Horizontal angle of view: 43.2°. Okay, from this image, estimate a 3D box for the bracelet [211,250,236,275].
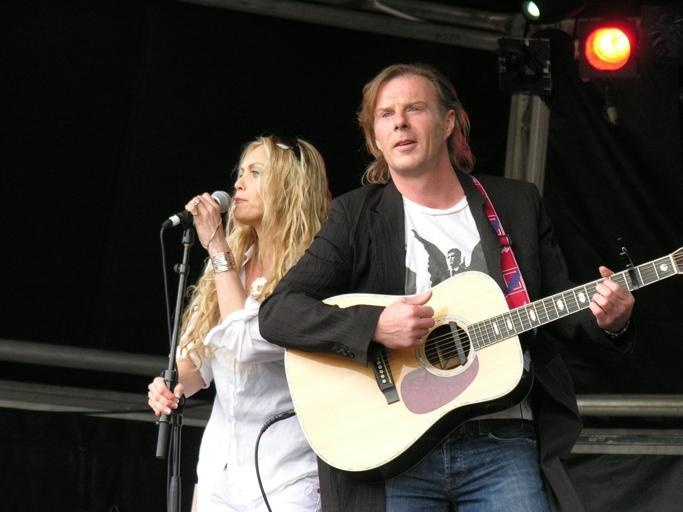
[{"bbox_3d":[-0.636,0.040,4.640,0.107,0.102,0.115,-14,-11,-17],"label":"bracelet"}]

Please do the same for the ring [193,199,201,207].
[{"bbox_3d":[-0.778,-0.278,4.594,0.022,0.038,0.009,10,-14,-17],"label":"ring"}]

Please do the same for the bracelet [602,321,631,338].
[{"bbox_3d":[1.270,0.337,3.945,0.081,0.025,0.086,6,50,41],"label":"bracelet"}]
